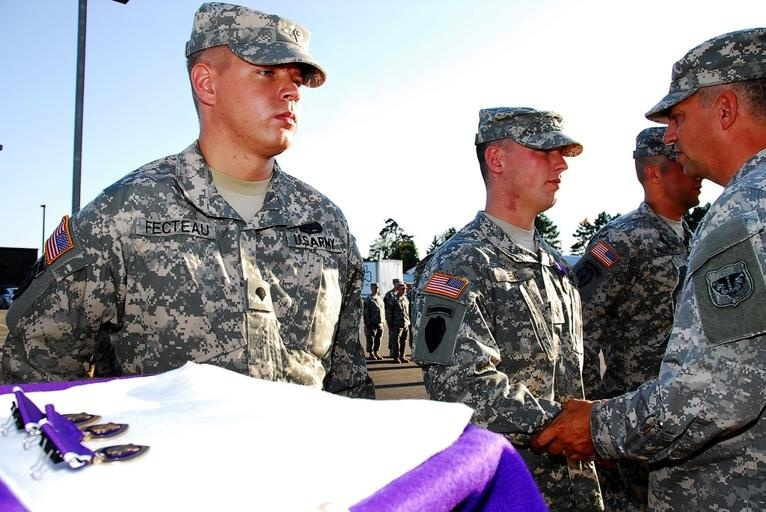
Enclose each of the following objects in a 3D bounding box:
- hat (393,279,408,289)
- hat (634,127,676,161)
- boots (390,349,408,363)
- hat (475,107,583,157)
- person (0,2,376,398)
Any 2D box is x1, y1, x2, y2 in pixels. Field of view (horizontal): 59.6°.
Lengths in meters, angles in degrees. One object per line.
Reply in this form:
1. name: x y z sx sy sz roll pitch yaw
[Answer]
1. hat: 0.504 0.815 19.829 0.452 0.218 0.612 5 -5 7
2. hat: 1.951 -0.856 4.887 0.351 0.237 0.263 -14 19 -38
3. boots: 0.433 2.458 16.227 0.218 0.410 0.424 -1 -20 -26
4. hat: 0.825 -0.723 3.819 0.664 0.254 0.437 7 6 43
5. person: -0.726 -0.212 2.766 1.440 1.640 0.683 1 13 -6
